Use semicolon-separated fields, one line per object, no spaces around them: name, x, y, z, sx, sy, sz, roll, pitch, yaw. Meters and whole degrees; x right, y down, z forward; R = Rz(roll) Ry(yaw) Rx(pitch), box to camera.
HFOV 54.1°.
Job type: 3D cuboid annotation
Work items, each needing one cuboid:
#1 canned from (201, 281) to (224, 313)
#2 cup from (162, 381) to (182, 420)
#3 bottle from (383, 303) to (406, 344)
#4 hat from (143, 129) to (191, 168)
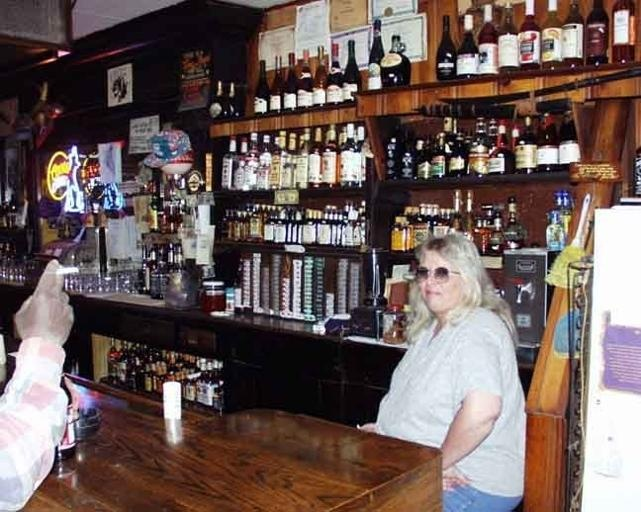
canned;-0.772;0.297;4.481;0.179;0.226;0.186;-1;-4;33
cup;-0.579;0.552;2.430;0.070;0.137;0.194;-1;6;-14
bottle;0.410;0.392;3.489;0.141;0.266;0.155;3;-4;-8
hat;-1.209;-0.839;4.885;0.342;0.208;0.244;9;21;41
